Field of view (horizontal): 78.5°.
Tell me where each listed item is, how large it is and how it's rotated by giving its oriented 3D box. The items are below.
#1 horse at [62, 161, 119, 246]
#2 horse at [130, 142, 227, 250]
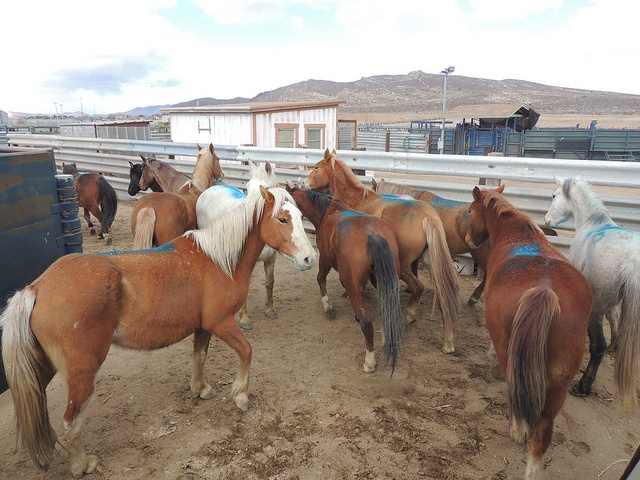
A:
[{"bbox_3d":[-5.603,-0.930,9.420,2.216,1.829,0.565,7,12,37],"label":"horse"},{"bbox_3d":[-2.249,-0.422,6.458,0.484,1.619,2.097,18,32,10],"label":"horse"}]
